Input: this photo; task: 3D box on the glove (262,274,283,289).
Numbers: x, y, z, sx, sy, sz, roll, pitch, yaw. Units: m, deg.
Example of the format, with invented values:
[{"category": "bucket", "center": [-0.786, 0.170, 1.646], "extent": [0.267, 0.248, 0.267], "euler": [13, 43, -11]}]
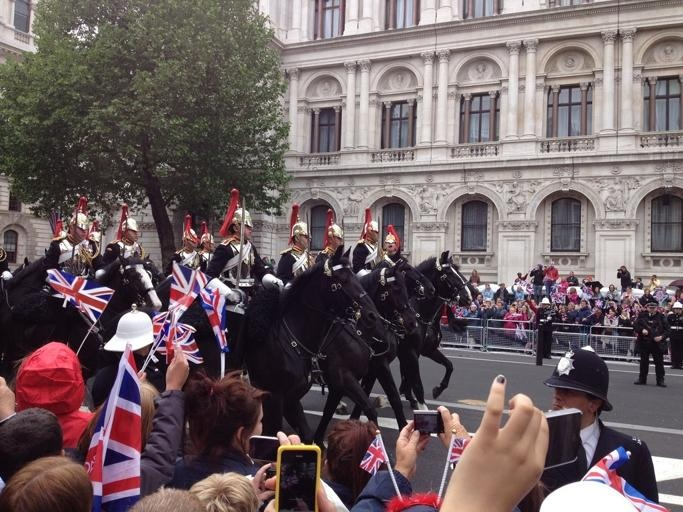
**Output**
[{"category": "glove", "center": [-1.139, 0.429, 14.493], "extent": [0.280, 0.147, 0.224], "euler": [33, 5, 26]}]

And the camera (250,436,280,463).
[{"category": "camera", "center": [-0.855, 2.185, 9.752], "extent": [0.453, 0.261, 0.216], "euler": [2, -1, 29]}]

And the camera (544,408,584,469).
[{"category": "camera", "center": [2.283, 1.911, 9.028], "extent": [0.616, 0.427, 0.256], "euler": [4, -2, -38]}]

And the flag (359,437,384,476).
[{"category": "flag", "center": [0.356, 2.195, 9.538], "extent": [0.266, 0.317, 0.201], "euler": [3, -1, 2]}]

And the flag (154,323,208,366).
[{"category": "flag", "center": [-2.255, 1.186, 11.964], "extent": [0.634, 0.641, 0.309], "euler": [0, -5, -28]}]

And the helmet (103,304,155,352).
[{"category": "helmet", "center": [-2.746, 1.011, 11.426], "extent": [0.591, 0.340, 0.617], "euler": [13, 20, 35]}]

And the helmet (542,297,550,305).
[{"category": "helmet", "center": [6.162, 1.378, 26.288], "extent": [0.265, 0.133, 0.269], "euler": [3, 0, 20]}]
